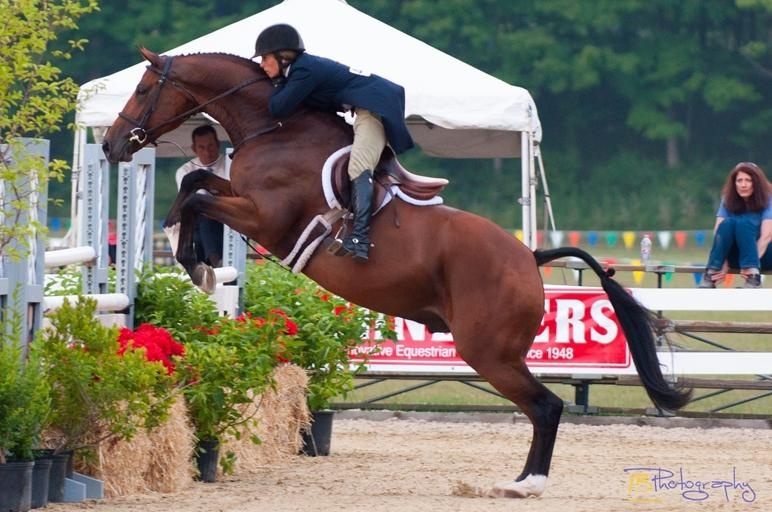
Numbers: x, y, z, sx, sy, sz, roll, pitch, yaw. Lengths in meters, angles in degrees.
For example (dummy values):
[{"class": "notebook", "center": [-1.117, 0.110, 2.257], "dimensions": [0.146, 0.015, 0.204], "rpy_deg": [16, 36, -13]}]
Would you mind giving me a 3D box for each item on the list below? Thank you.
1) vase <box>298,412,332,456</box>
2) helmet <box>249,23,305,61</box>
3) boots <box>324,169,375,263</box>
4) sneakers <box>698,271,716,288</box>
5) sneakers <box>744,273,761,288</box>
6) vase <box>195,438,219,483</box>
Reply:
[{"class": "vase", "center": [-0.886, 2.327, 24.535], "dimensions": [0.537, 0.437, 0.536], "rpy_deg": [0, -4, 7]}, {"class": "helmet", "center": [-1.332, -2.692, 22.969], "dimensions": [0.584, 0.308, 0.407], "rpy_deg": [-2, 1, -15]}, {"class": "boots", "center": [-0.385, -0.607, 22.888], "dimensions": [0.538, 1.117, 0.313], "rpy_deg": [8, -2, -22]}, {"class": "sneakers", "center": [4.593, 0.312, 26.269], "dimensions": [0.225, 0.220, 0.176], "rpy_deg": [-2, -3, 9]}, {"class": "sneakers", "center": [5.209, 0.324, 26.123], "dimensions": [0.242, 0.193, 0.227], "rpy_deg": [-2, -3, 8]}, {"class": "vase", "center": [-2.249, 2.546, 23.319], "dimensions": [0.298, 0.561, 0.220], "rpy_deg": [-1, -3, -6]}]
